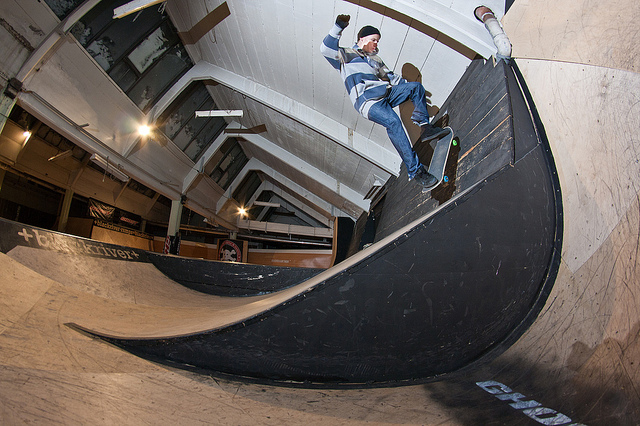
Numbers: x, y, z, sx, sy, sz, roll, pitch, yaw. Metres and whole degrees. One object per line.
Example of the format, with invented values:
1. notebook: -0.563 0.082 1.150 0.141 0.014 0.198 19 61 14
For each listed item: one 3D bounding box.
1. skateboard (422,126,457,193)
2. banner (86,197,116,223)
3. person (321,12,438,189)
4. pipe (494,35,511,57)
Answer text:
1. skateboard: 1.459 -0.675 4.821 0.262 0.162 1.056 166 117 -70
2. banner: -7.846 -0.092 14.285 1.062 0.678 0.047 13 6 1
3. person: 0.907 -1.446 5.144 1.343 2.413 0.634 -16 -10 -24
4. pipe: 2.098 -1.915 4.537 0.132 0.107 0.265 -5 73 22
